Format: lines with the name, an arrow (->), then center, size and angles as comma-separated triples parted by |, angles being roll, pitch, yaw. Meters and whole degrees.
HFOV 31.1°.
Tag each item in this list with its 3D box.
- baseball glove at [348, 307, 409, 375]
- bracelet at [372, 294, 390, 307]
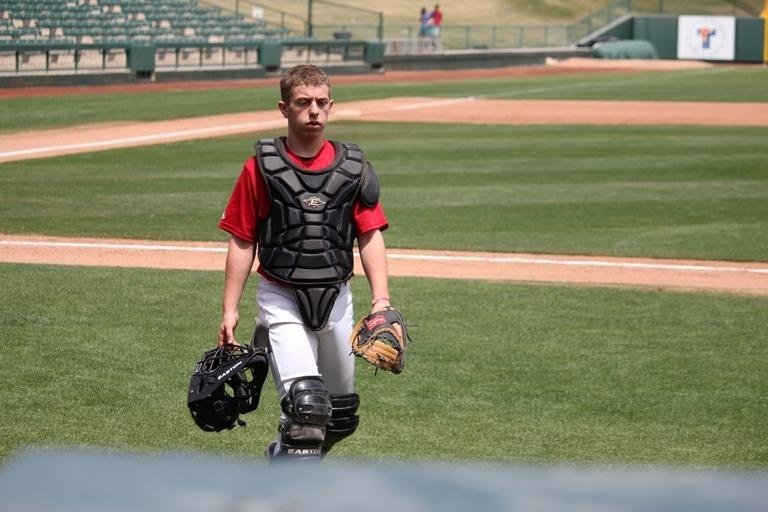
baseball glove -> -0.026, 0.844, 13.895 | 0.563, 0.651, 0.341 | 2, -15, 7
bracelet -> -0.046, 0.458, 13.993 | 0.132, 0.047, 0.102 | -15, -16, 23
